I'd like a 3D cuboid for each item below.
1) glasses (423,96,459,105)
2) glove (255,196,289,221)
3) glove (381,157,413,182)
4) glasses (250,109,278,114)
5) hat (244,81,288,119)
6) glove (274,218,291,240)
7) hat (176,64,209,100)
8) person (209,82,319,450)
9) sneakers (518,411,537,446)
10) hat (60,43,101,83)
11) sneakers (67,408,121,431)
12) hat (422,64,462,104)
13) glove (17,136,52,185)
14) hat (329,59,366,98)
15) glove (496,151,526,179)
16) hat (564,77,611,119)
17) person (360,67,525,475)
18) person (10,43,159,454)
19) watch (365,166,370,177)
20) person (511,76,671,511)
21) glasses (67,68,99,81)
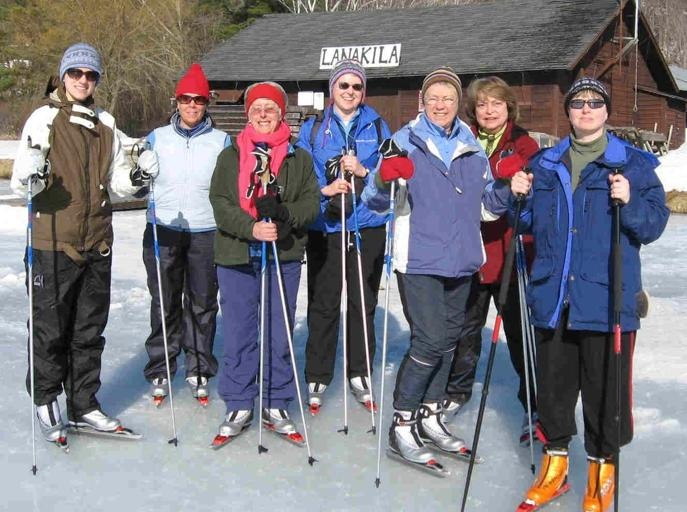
[{"bbox_3d":[0.716,-1.124,5.875,0.271,0.079,0.140,4,6,4],"label":"glasses"},{"bbox_3d":[-0.515,-0.349,5.950,0.141,0.196,0.240,8,7,42],"label":"glove"},{"bbox_3d":[0.371,-0.604,5.651,0.233,0.191,0.174,3,5,1],"label":"glove"},{"bbox_3d":[-0.599,-1.091,6.108,0.157,0.029,0.044,2,6,-8],"label":"glasses"},{"bbox_3d":[-0.574,-1.210,6.212,0.345,0.265,0.290,1,6,-23],"label":"hat"},{"bbox_3d":[-0.440,-0.196,6.075,0.107,0.157,0.207,6,6,28],"label":"glove"},{"bbox_3d":[-1.216,-1.425,6.623,0.218,0.233,0.322,16,23,-18],"label":"hat"},{"bbox_3d":[-0.609,0.065,6.169,0.828,2.757,0.599,2,5,-10],"label":"person"},{"bbox_3d":[1.409,1.325,6.154,0.097,0.129,0.298,0,10,6],"label":"sneakers"},{"bbox_3d":[-1.942,-1.410,5.990,0.267,0.259,0.271,1,16,-28],"label":"hat"},{"bbox_3d":[-1.887,1.243,6.145,0.350,0.166,0.166,-1,-3,0],"label":"sneakers"},{"bbox_3d":[0.739,-1.275,5.990,0.221,0.172,0.284,4,-13,6],"label":"hat"},{"bbox_3d":[-2.176,-0.670,5.723,0.175,0.327,0.168,1,5,-23],"label":"glove"},{"bbox_3d":[0.035,-1.493,6.724,0.240,0.310,0.324,3,-34,-3],"label":"hat"},{"bbox_3d":[1.164,-0.643,5.570,0.157,0.069,0.206,-22,18,32],"label":"glove"},{"bbox_3d":[1.641,-1.117,5.452,0.256,0.239,0.301,2,-22,9],"label":"hat"},{"bbox_3d":[0.646,0.091,5.861,1.008,2.887,0.481,3,5,0],"label":"person"},{"bbox_3d":[-1.978,-0.079,6.009,0.900,2.972,0.411,1,5,-24],"label":"person"},{"bbox_3d":[0.198,-0.667,6.384,0.056,0.081,0.046,-1,-7,-4],"label":"watch"},{"bbox_3d":[1.601,0.279,5.364,0.941,2.882,0.410,5,5,21],"label":"person"},{"bbox_3d":[-1.903,-1.318,5.915,0.239,0.082,0.083,1,6,-25],"label":"glasses"}]
